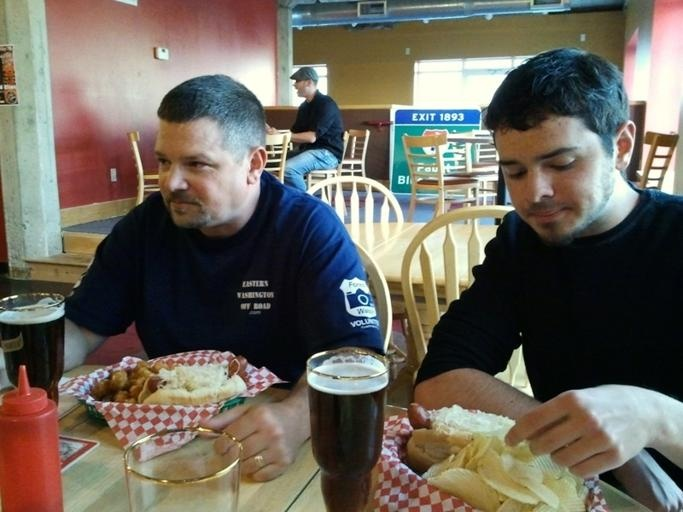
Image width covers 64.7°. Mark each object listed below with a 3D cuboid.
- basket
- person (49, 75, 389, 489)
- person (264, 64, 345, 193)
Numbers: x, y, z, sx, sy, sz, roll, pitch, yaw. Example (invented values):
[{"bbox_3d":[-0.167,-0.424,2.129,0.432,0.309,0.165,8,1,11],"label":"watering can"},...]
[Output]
[{"bbox_3d":[-0.354,0.263,1.120,0.192,0.058,0.155,1,12,-2],"label":"basket"},{"bbox_3d":[-0.360,0.038,1.437,0.896,0.929,0.672,2,11,7],"label":"person"},{"bbox_3d":[-0.417,-1.360,6.464,0.963,1.725,0.755,-4,12,-25],"label":"person"}]
